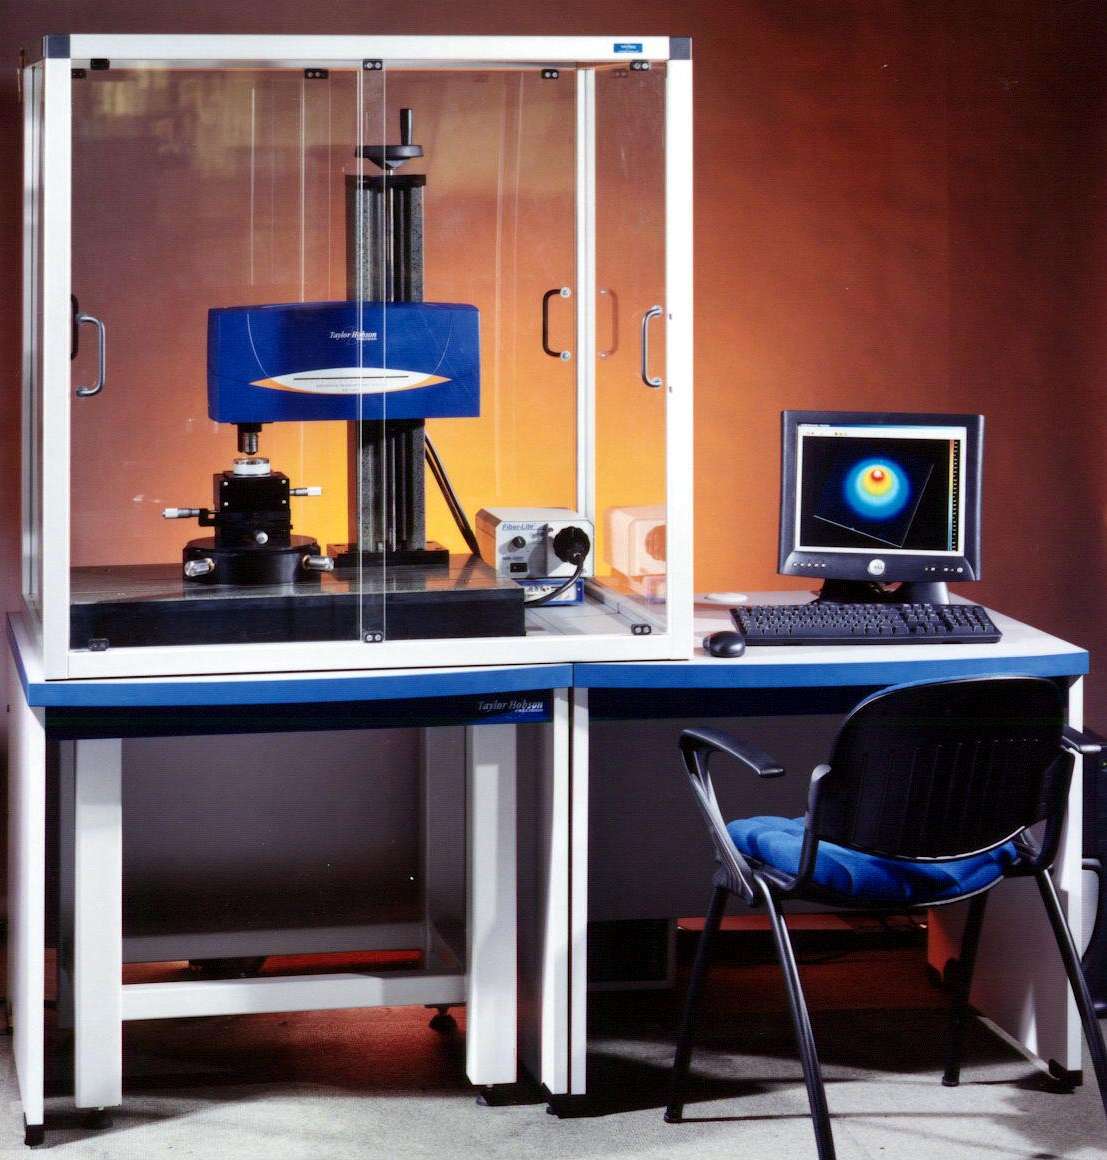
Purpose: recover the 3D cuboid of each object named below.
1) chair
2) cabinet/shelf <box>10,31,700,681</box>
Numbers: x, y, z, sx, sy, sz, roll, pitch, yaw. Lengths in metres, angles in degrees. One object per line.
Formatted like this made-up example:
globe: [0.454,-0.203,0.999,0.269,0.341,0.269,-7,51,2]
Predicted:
chair: [0.537,0.515,2.209,0.629,0.794,0.479,-1,3,-23]
cabinet/shelf: [-0.322,-0.355,2.322,1.031,1.102,0.422,-1,1,-18]
